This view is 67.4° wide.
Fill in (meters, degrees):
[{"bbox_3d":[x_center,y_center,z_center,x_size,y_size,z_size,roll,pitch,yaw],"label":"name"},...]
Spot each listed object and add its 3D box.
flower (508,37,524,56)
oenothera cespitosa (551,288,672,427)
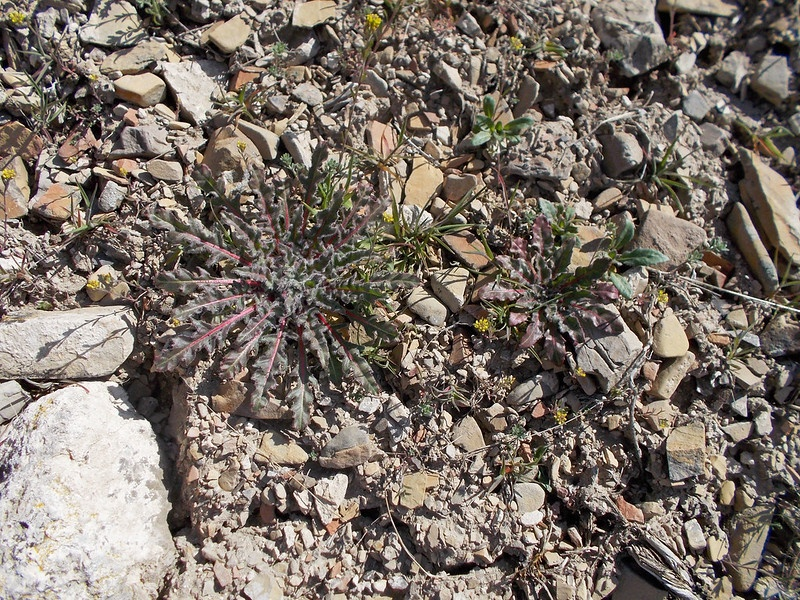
[{"bbox_3d":[0.883,-1.944,4.586,0.072,0.131,0.129,-2,42,-22],"label":"flower"},{"bbox_3d":[1.494,0.358,4.238,0.636,0.406,0.446,-17,60,-23],"label":"oenothera cespitosa"}]
